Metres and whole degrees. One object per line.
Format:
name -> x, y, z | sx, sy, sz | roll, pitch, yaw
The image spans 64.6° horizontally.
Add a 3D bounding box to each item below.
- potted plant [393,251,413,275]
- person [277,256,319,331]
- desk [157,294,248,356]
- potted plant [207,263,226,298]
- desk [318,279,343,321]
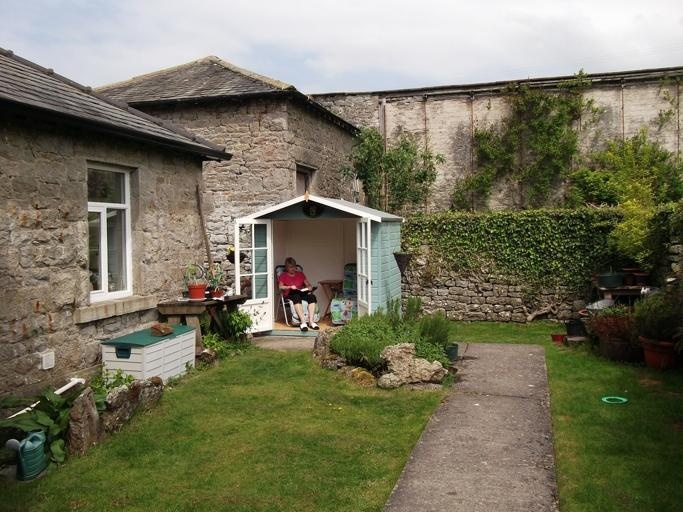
potted plant -> 1.324, 0.129, 11.989 | 0.464, 0.477, 0.467 | 0, 2, 36
person -> -0.988, 0.804, 12.007 | 0.793, 1.430, 1.337 | -2, 11, -11
desk -> -2.603, 1.189, 10.319 | 0.742, 0.819, 2.275 | 7, 0, 4
potted plant -> -2.324, 0.501, 10.250 | 0.426, 0.633, 0.368 | 4, 2, 43
desk -> -0.200, 1.061, 13.496 | 0.654, 0.861, 0.647 | -3, 5, -2
